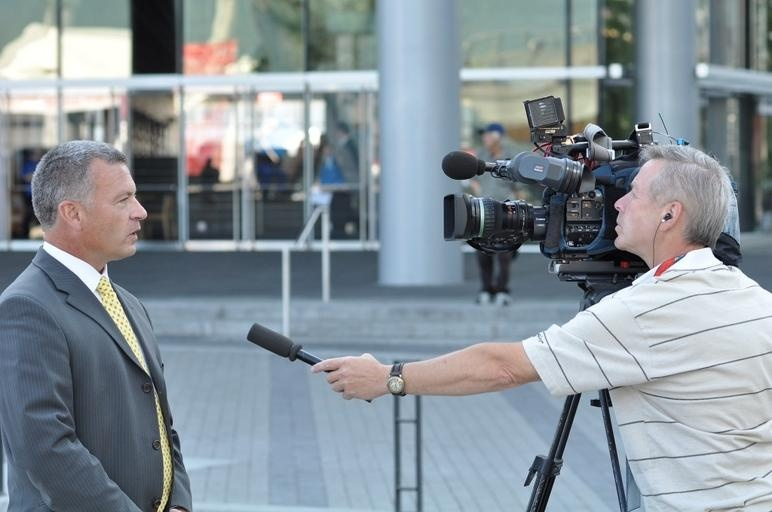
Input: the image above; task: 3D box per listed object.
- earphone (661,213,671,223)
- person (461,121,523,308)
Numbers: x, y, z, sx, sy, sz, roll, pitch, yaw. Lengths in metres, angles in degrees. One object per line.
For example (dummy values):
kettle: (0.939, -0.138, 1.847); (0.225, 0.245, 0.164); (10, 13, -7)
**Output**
earphone: (1.638, -0.223, 10.350); (0.056, 0.033, 0.020); (-41, -15, 19)
person: (1.022, -0.391, 16.534); (0.578, 1.756, 0.551); (1, -1, -5)
